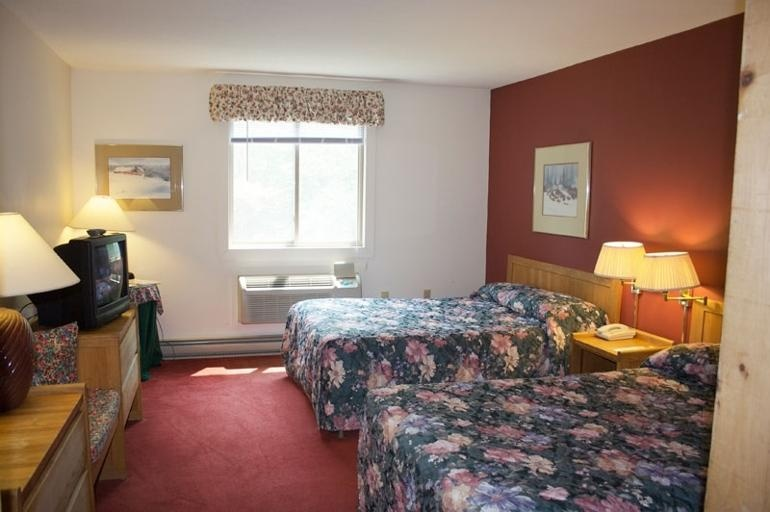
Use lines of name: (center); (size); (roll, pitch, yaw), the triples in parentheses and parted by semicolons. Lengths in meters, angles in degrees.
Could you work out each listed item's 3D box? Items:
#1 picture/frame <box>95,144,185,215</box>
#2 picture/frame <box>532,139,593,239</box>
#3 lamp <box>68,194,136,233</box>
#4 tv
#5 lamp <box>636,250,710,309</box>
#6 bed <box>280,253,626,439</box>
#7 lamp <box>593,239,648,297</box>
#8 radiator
picture/frame: (-2.641, -0.847, 5.755); (0.880, 0.751, 0.027); (-4, 35, -32)
picture/frame: (1.807, -0.674, 5.466); (0.153, 0.943, 0.821); (-4, 13, -20)
lamp: (-2.669, -0.428, 4.962); (0.413, 0.232, 0.422); (4, 10, 13)
tv: (-2.215, 0.180, 4.015); (0.353, 0.629, 0.642); (0, 7, -5)
lamp: (2.136, 0.154, 4.120); (0.457, 0.444, 0.381); (-8, 11, -24)
bed: (0.472, 0.690, 4.824); (2.193, 0.988, 1.591); (-3, 8, -17)
lamp: (1.954, 0.123, 4.545); (0.416, 0.411, 0.391); (7, 8, -4)
radiator: (-0.966, 0.526, 6.165); (1.378, 0.506, 0.339); (-1, 2, -10)
